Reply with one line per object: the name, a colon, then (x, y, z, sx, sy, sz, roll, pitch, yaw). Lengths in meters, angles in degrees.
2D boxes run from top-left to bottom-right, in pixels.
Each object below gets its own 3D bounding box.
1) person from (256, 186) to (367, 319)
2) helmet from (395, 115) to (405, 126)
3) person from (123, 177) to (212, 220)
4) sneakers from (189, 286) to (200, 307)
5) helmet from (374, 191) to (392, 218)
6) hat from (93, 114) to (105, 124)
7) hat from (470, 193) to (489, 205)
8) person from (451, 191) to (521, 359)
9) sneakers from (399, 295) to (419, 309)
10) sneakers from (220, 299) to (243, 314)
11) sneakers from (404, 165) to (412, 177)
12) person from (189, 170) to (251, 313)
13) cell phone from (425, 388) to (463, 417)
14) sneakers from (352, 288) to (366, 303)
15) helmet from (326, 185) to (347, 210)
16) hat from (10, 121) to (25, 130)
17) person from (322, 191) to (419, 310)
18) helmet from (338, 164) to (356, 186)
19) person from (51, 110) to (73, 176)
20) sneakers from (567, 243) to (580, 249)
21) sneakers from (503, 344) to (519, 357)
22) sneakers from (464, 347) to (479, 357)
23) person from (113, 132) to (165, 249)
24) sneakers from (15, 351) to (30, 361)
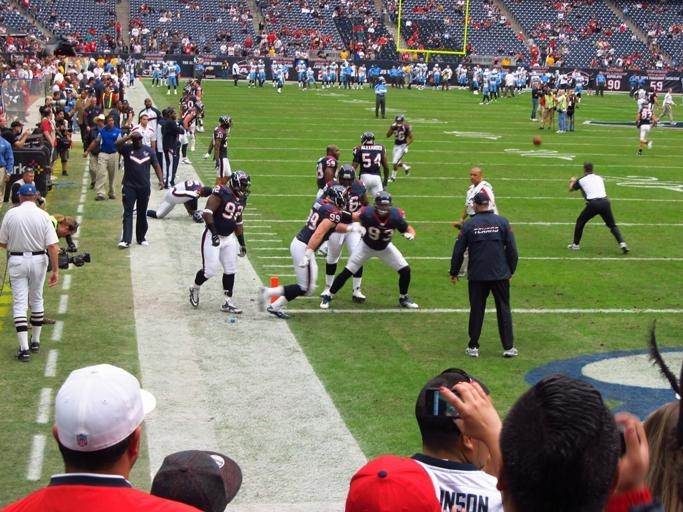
person: (-0.478, -0.062, 13.811, 1.451, 1.774, 0.874, -3, 7, -21)
helmet: (1.331, -3.189, 23.816, 0.262, 0.281, 0.317, 2, 18, 2)
person: (-3.099, -0.994, 18.348, 1.422, 0.642, 0.497, -2, 8, -23)
sneakers: (-2.042, 0.572, 13.881, 0.134, 0.282, 0.099, -23, -9, 35)
helmet: (0.543, -0.712, 13.887, 0.231, 0.340, 0.293, 0, 7, 0)
hat: (-4.914, -2.820, 20.437, 0.236, 0.114, 0.305, 2, -10, -18)
hat: (1.690, -0.698, 12.377, 0.167, 0.144, 0.209, 0, 7, 2)
person: (1.757, 0.250, 12.626, 0.934, 2.009, 0.594, 0, -1, 2)
sneakers: (0.963, 0.678, 14.285, 0.362, 0.154, 0.123, 10, 19, 10)
sneakers: (-1.472, 0.702, 13.763, 0.380, 0.236, 0.124, 4, 13, 5)
sneakers: (1.532, -2.048, 24.179, 0.118, 0.154, 0.347, 3, 20, 11)
person: (-1.667, -0.186, 13.869, 0.863, 1.916, 0.685, -3, 7, -24)
cell phone: (0.653, 0.950, 6.460, 0.026, 0.132, 0.234, -14, 5, -28)
sneakers: (0.222, 0.586, 14.690, 0.245, 0.181, 0.126, 2, 7, 24)
helmet: (-0.119, -0.805, 13.867, 0.333, 0.284, 0.248, -3, 30, -31)
hat: (-6.207, -2.522, 19.286, 0.226, 0.210, 0.183, -21, 41, -40)
person: (0.351, -0.006, 14.728, 1.405, 1.554, 1.080, -11, 30, -21)
helmet: (0.079, -1.221, 15.232, 0.245, 0.260, 0.310, 1, 22, -6)
person: (-6.479, -2.603, 23.320, 0.574, 1.463, 0.513, -4, 15, -27)
sneakers: (4.025, -0.162, 17.637, 0.086, 0.100, 0.228, 0, 12, 1)
sneakers: (2.057, 1.204, 12.439, 0.086, 0.094, 0.219, -4, -1, 27)
sneakers: (1.579, 1.204, 12.414, 0.103, 0.094, 0.217, 1, -8, 5)
person: (-3.466, -1.111, 16.879, 0.564, 1.945, 0.670, -1, 7, -7)
sneakers: (-3.731, 1.177, 11.830, 0.151, 0.132, 0.178, -2, 7, -18)
